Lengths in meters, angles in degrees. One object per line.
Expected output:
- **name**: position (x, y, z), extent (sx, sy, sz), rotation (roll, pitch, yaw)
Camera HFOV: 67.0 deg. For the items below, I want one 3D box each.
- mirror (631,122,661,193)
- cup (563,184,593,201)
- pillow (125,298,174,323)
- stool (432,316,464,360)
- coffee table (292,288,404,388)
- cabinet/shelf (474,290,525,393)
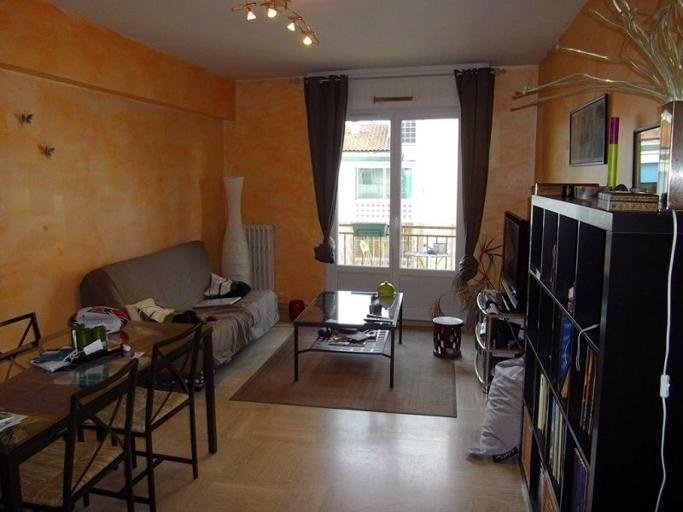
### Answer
- **mirror**: position (1.713, -0.558, 2.921), extent (0.065, 0.342, 0.401), rotation (4, 14, 18)
- **cup**: position (1.245, -0.339, 2.722), extent (0.098, 0.055, 0.150), rotation (5, 8, 31)
- **pillow**: position (-1.623, 0.460, 4.331), extent (0.237, 0.093, 0.249), rotation (29, 14, 27)
- **stool**: position (1.046, 0.804, 5.205), extent (0.333, 0.393, 0.352), rotation (-1, 10, -1)
- **coffee table**: position (0.103, 0.616, 4.744), extent (0.694, 0.443, 1.096), rotation (3, 12, 9)
- **cabinet/shelf**: position (1.279, 0.695, 4.148), extent (0.283, 0.465, 0.768), rotation (0, 11, 7)
